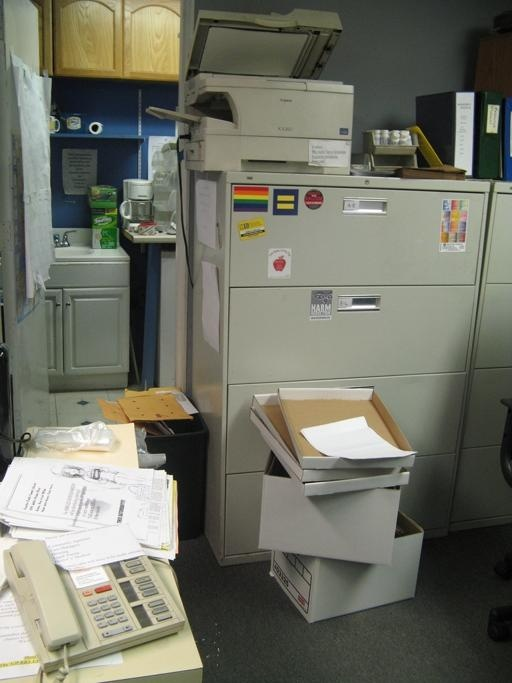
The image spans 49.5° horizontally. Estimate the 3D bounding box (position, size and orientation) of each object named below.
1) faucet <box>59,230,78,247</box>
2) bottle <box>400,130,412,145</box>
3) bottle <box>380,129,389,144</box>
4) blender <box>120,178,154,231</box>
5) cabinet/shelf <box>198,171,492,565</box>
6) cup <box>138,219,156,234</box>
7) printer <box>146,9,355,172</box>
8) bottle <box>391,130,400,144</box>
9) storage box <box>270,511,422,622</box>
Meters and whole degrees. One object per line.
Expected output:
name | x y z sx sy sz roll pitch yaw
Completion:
faucet | -1.307 -0.714 3.823 0.080 0.112 0.112 4 14 3
bottle | 0.519 -0.709 1.929 0.043 0.056 0.045 3 14 -1
bottle | 0.447 -0.705 1.920 0.041 0.048 0.026 -11 19 -43
blender | -0.812 -0.934 3.749 0.213 0.309 0.225 -8 24 -27
cabinet/shelf | 0.275 0.067 2.124 0.937 1.378 0.468 -2 13 -14
cup | -0.666 -0.691 3.382 0.091 0.063 0.243 0 15 -11
printer | -0.019 -0.778 1.761 0.584 0.446 0.362 -2 21 -11
bottle | 0.481 -0.707 1.929 0.034 0.048 0.035 3 14 -1
storage box | 0.295 0.667 1.815 0.421 0.230 0.321 -11 30 -27
